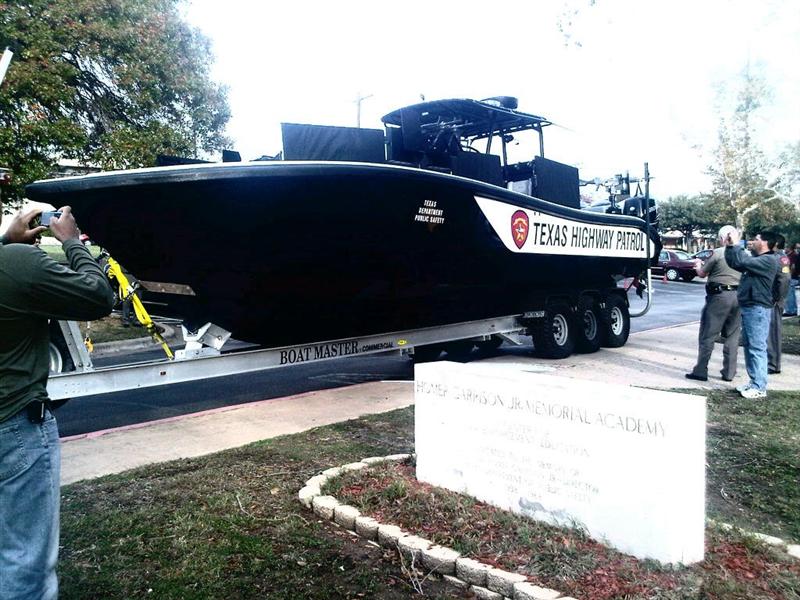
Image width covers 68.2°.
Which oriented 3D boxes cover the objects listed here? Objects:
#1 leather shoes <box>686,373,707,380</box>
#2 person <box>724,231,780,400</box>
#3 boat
[{"bbox_3d":[4.246,1.113,8.474,0.092,0.118,0.250,-4,12,-32],"label":"leather shoes"},{"bbox_3d":[4.597,0.143,7.727,0.563,2.086,1.269,2,6,33],"label":"person"},{"bbox_3d":[-0.337,-1.036,9.062,3.291,3.662,8.437,-1,-3,43],"label":"boat"}]
